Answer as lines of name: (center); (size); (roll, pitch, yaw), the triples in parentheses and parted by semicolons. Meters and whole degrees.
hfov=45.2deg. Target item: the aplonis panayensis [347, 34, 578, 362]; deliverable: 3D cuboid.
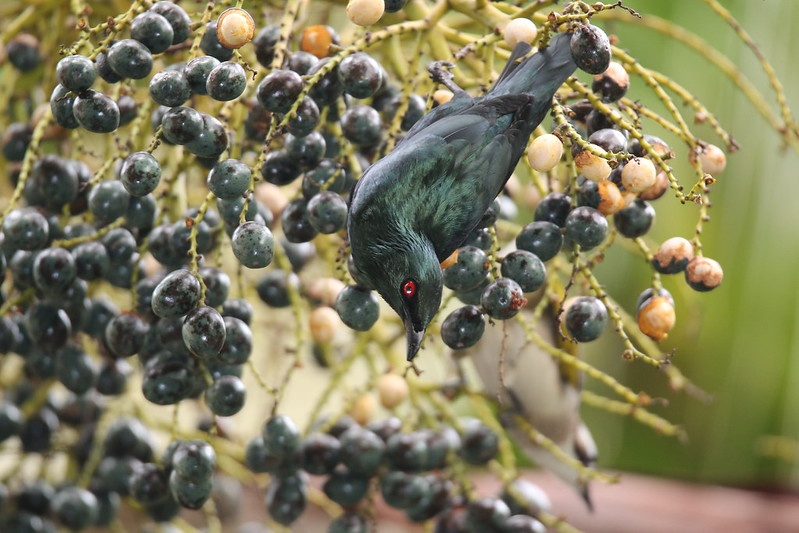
aplonis panayensis: (0.064, -0.075, 0.956); (0.091, 0.296, 0.188); (29, -24, 14)
